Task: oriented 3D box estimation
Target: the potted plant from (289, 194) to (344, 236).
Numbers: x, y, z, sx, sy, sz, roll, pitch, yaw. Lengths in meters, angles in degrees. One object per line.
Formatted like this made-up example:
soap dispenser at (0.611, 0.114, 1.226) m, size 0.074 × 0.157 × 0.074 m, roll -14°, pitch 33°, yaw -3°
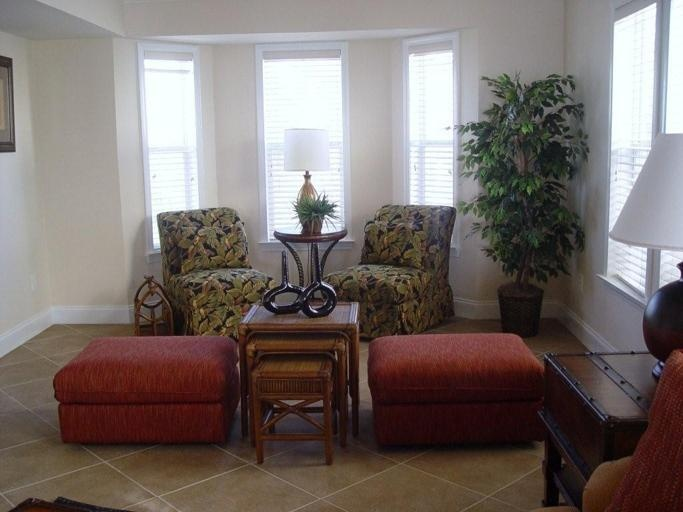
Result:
potted plant at (-0.216, -0.396, 5.168) m, size 0.335 × 0.257 × 0.329 m, roll 4°, pitch -4°, yaw 14°

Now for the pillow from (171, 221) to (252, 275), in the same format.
pillow at (-1.216, -0.062, 5.169) m, size 0.489 × 0.518 × 0.151 m, roll -4°, pitch -22°, yaw -21°

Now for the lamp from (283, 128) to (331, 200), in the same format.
lamp at (-0.336, -0.865, 5.423) m, size 0.445 × 0.787 × 0.468 m, roll 8°, pitch 18°, yaw 25°

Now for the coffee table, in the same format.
coffee table at (-0.181, 0.619, 3.422) m, size 0.705 × 0.785 × 0.742 m, roll -1°, pitch 3°, yaw 6°

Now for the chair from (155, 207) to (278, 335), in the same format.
chair at (-1.179, 0.184, 5.129) m, size 0.775 × 1.170 × 1.097 m, roll -4°, pitch 9°, yaw -29°

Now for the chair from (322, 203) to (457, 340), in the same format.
chair at (0.410, 0.119, 5.201) m, size 0.941 × 1.175 × 1.228 m, roll 4°, pitch 10°, yaw 29°

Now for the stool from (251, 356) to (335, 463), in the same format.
stool at (-0.259, 0.802, 3.334) m, size 0.471 × 0.630 × 0.638 m, roll 0°, pitch 18°, yaw 5°

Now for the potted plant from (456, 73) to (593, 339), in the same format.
potted plant at (1.559, -0.433, 4.802) m, size 1.040 × 2.231 × 0.962 m, roll 1°, pitch 13°, yaw 9°
